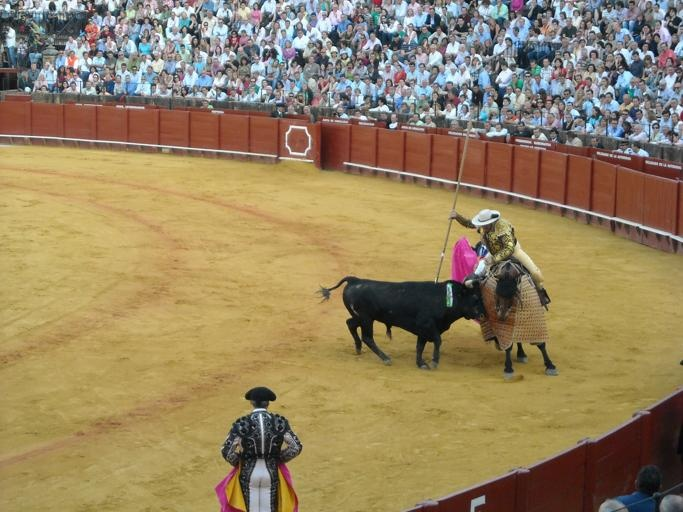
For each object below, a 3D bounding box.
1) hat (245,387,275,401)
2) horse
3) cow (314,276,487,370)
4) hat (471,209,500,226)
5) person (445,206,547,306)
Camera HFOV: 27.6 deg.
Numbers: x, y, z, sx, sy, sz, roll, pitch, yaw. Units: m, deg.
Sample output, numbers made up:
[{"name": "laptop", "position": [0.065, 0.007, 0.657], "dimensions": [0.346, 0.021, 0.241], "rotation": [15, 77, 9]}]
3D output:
[{"name": "hat", "position": [-1.093, 1.810, 18.154], "dimensions": [0.466, 0.134, 0.464], "rotation": [0, 2, -6]}, {"name": "horse", "position": [2.594, 0.878, 21.590], "dimensions": [1.048, 1.895, 0.675], "rotation": [1, 10, 4]}, {"name": "cow", "position": [0.921, 1.084, 21.844], "dimensions": [2.753, 1.386, 0.618], "rotation": [2, 2, 18]}, {"name": "hat", "position": [2.170, -0.576, 21.731], "dimensions": [0.393, 0.295, 0.369], "rotation": [1, 9, 2]}, {"name": "person", "position": [2.301, 0.084, 21.887], "dimensions": [1.595, 1.273, 0.780], "rotation": [3, -5, -5]}]
